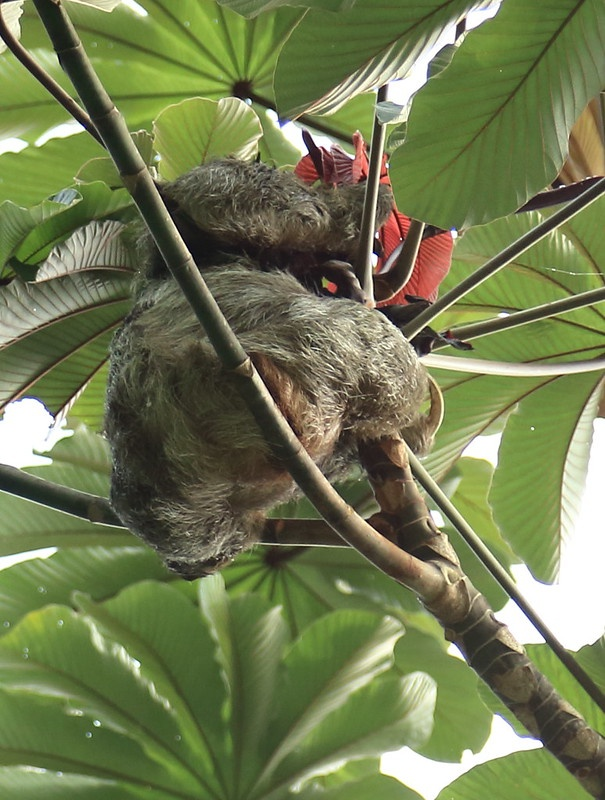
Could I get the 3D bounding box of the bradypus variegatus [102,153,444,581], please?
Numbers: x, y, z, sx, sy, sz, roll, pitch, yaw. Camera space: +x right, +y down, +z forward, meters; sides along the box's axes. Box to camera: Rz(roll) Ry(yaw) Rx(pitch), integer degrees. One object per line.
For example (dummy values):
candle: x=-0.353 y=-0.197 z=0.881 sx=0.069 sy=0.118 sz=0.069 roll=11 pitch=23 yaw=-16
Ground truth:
bradypus variegatus: x=-0.018 y=-0.081 z=1.300 sx=0.360 sy=0.567 sz=0.337 roll=21 pitch=-51 yaw=-23
